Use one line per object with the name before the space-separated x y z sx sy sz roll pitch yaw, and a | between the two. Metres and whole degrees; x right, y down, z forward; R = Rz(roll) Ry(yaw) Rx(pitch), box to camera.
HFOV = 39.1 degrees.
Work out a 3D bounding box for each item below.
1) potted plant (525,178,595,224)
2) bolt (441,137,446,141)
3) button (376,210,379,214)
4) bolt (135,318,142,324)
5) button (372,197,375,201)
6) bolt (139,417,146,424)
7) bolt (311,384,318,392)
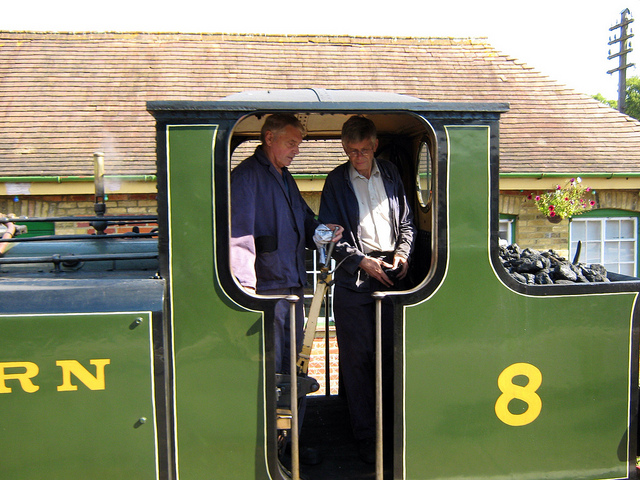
potted plant | 3.438 -0.511 12.851 0.647 0.535 0.695 30 16 26
bolt | 1.053 -0.863 7.669 0.034 0.036 0.008 2 0 0
button | 0.528 -0.256 8.167 0.025 0.025 0.024 2 -1 -8
bolt | -1.497 0.669 7.475 0.039 0.044 0.014 11 -1 -3
button | 0.495 -0.375 8.190 0.021 0.022 0.010 -3 -1 -14
bolt | -1.459 1.492 7.467 0.034 0.048 0.053 2 -45 -8
bolt | -0.035 1.261 7.703 0.045 0.049 0.010 -24 2 -8
